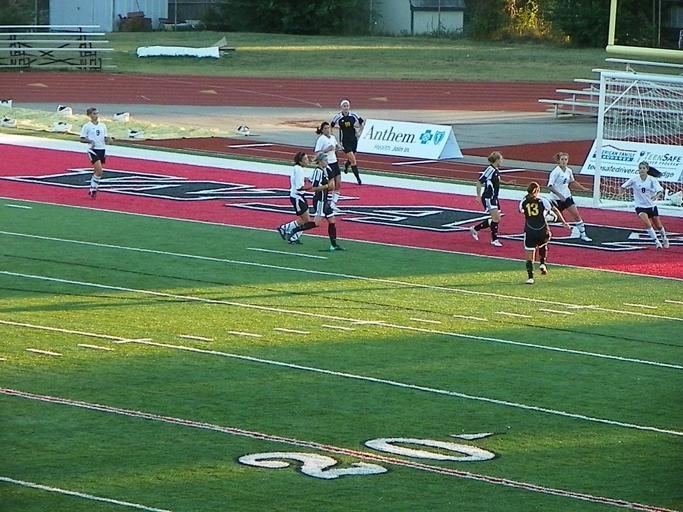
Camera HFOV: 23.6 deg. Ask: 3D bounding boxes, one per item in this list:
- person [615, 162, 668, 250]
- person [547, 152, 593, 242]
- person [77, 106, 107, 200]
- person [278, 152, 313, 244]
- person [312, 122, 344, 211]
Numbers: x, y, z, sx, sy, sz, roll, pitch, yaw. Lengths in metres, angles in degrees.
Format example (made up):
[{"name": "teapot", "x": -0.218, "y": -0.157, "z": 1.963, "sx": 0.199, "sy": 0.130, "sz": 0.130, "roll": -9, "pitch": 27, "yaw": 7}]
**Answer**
[{"name": "person", "x": 7.155, "y": -1.236, "z": 37.758, "sx": 1.331, "sy": 1.862, "sz": 1.086, "roll": 13, "pitch": 21, "yaw": 26}, {"name": "person", "x": 5.340, "y": -1.362, "z": 37.659, "sx": 1.486, "sy": 1.887, "sz": 0.988, "roll": 2, "pitch": 18, "yaw": -1}, {"name": "person", "x": -5.994, "y": -2.558, "z": 40.269, "sx": 0.900, "sy": 2.134, "sz": 1.011, "roll": 14, "pitch": 18, "yaw": 38}, {"name": "person", "x": -0.859, "y": -1.337, "z": 36.565, "sx": 0.895, "sy": 1.794, "sz": 1.000, "roll": -15, "pitch": 32, "yaw": -43}, {"name": "person", "x": -0.226, "y": -2.371, "z": 39.762, "sx": 1.094, "sy": 1.842, "sz": 0.752, "roll": 6, "pitch": 23, "yaw": 7}]
